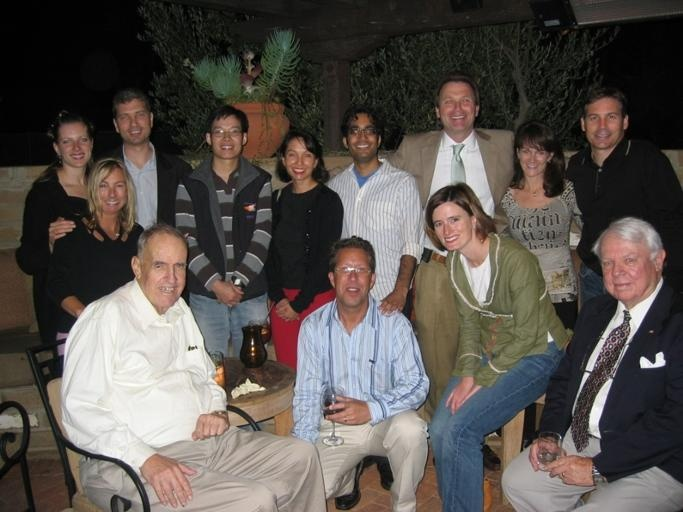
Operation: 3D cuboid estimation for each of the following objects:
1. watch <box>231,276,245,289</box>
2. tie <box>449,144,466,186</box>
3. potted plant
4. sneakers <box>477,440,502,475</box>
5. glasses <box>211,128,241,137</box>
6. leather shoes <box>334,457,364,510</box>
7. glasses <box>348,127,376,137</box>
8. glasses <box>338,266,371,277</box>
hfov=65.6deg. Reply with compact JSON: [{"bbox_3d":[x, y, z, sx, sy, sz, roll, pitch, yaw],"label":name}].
[{"bbox_3d":[-0.869,0.221,4.445,0.072,0.096,0.096,16,6,-19],"label":"watch"},{"bbox_3d":[0.989,-0.789,4.524,0.128,0.326,0.127,1,11,9],"label":"tie"},{"bbox_3d":[-1.004,-1.793,6.034,1.174,1.374,0.869,4,15,17],"label":"potted plant"},{"bbox_3d":[1.293,1.767,4.695,0.145,0.161,0.398,2,5,-9],"label":"sneakers"},{"bbox_3d":[-0.981,-1.048,4.537,0.247,0.096,0.082,-4,11,-19],"label":"glasses"},{"bbox_3d":[0.107,1.824,4.242,0.163,0.214,0.496,0,0,19],"label":"leather shoes"},{"bbox_3d":[0.172,-1.047,4.469,0.219,0.068,0.040,0,11,4],"label":"glasses"},{"bbox_3d":[0.092,0.101,3.737,0.190,0.061,0.036,-2,11,-7],"label":"glasses"}]
